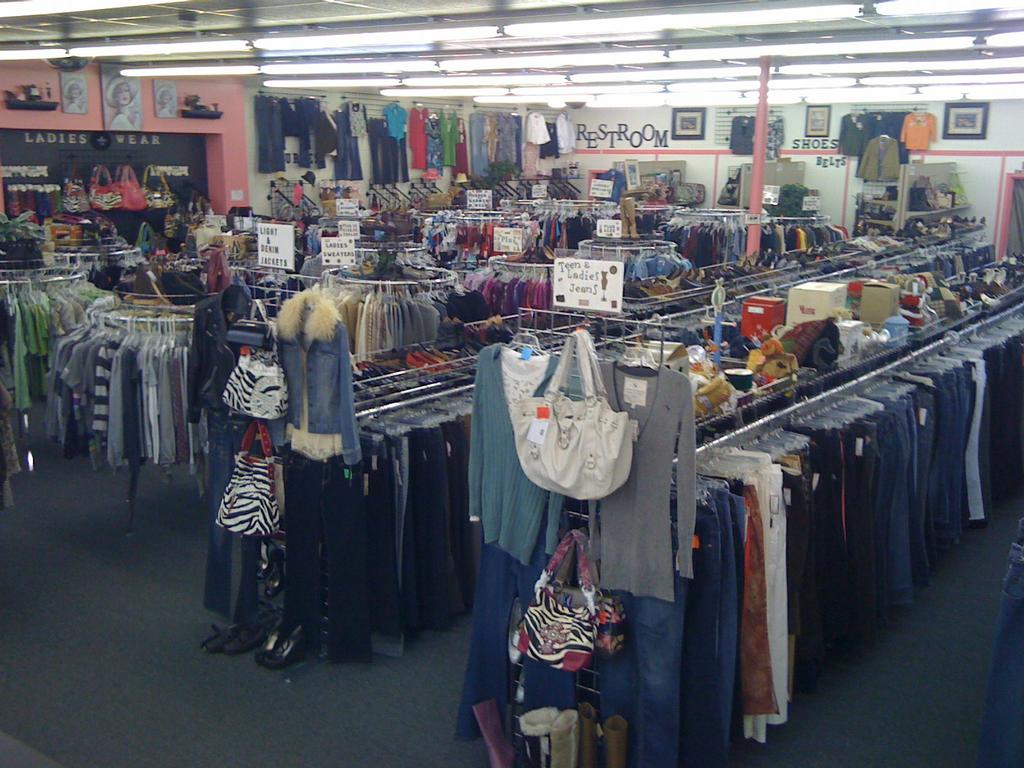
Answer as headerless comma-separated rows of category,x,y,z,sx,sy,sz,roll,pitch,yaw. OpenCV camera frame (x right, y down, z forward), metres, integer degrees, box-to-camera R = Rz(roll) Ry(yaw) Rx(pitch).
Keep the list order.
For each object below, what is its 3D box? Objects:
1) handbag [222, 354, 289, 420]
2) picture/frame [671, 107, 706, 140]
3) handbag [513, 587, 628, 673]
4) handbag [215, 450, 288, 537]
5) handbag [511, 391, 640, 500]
handbag,-1.533,-0.009,4.683,0.411,0.442,0.269,7,6,28
picture/frame,4.334,-6.404,19.265,0.791,0.764,0.055,7,9,42
handbag,0.262,1.174,3.656,0.391,0.193,0.410,9,21,25
handbag,-1.547,0.599,4.751,0.369,0.597,0.208,10,11,4
handbag,0.297,0.198,3.704,0.309,0.683,0.594,-18,21,-42
